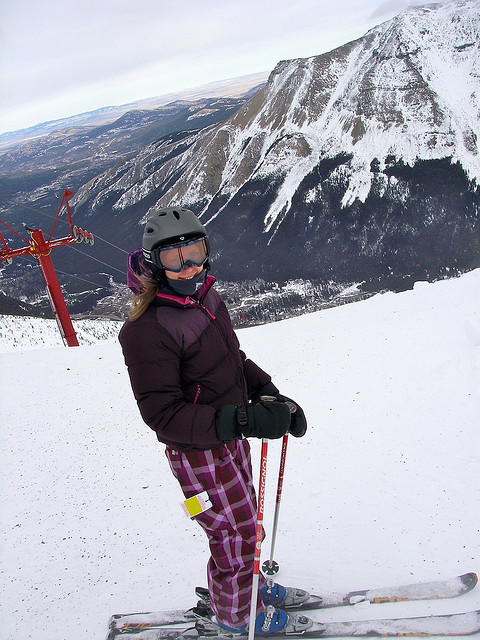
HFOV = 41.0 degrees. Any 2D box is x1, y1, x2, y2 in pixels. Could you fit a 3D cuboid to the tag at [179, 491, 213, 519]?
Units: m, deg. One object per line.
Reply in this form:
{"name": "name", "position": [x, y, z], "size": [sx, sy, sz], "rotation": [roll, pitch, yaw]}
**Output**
{"name": "tag", "position": [-0.473, 1.896, 6.645], "size": [0.336, 0.179, 0.073], "rotation": [-23, -3, -21]}
